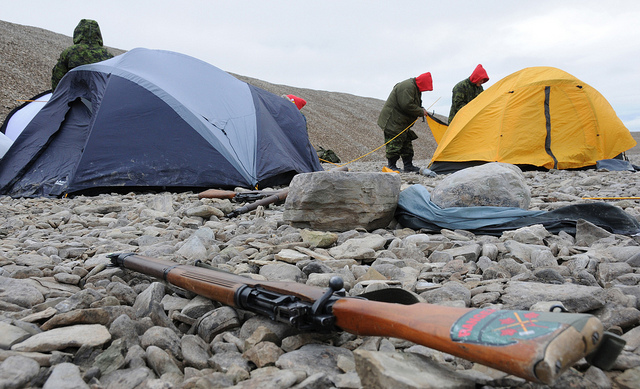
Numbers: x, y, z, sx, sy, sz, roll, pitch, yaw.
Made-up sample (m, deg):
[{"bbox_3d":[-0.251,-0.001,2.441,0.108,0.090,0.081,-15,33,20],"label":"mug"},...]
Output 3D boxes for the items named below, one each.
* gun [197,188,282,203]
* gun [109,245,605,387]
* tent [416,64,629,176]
[{"bbox_3d":[-1.172,0.023,5.916,1.371,0.162,0.171,0,34,13],"label":"gun"},{"bbox_3d":[-0.102,0.570,2.449,2.802,0.318,0.714,7,10,42],"label":"gun"},{"bbox_3d":[4.317,-1.510,8.396,3.574,2.079,1.026,-2,6,0],"label":"tent"}]
